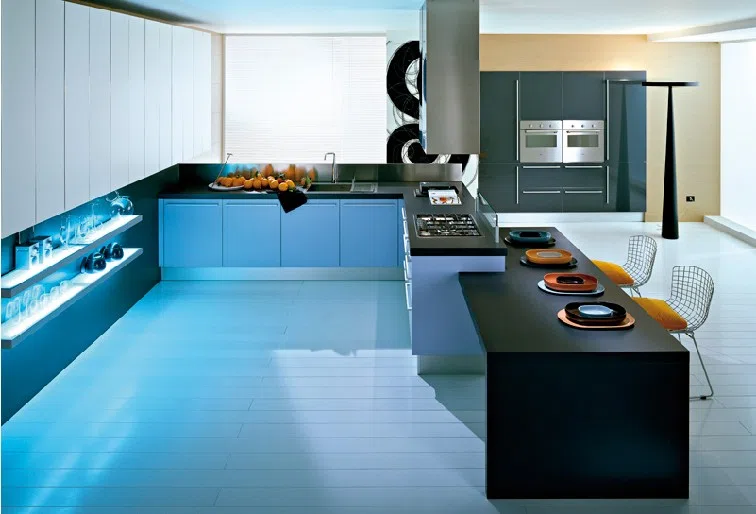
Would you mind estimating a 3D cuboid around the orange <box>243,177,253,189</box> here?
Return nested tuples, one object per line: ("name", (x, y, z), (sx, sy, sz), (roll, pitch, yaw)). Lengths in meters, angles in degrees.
("orange", (-1.782, -1.018, 7.302), (0.141, 0.119, 0.155), (-6, 16, -14))

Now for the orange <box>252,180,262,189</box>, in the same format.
("orange", (-1.654, -0.996, 7.249), (0.123, 0.116, 0.051), (-6, 15, -11))

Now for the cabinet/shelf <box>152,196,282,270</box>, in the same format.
("cabinet/shelf", (-2.430, -0.268, 7.425), (1.843, 0.939, 1.015), (-1, -2, -44))

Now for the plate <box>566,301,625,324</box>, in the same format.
("plate", (1.366, 0.343, 3.335), (0.226, 0.041, 0.163), (-1, 16, -1))

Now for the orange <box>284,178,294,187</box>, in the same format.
("orange", (-1.211, -1.011, 7.250), (0.142, 0.080, 0.092), (19, -7, 38))

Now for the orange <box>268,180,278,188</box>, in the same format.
("orange", (-1.429, -0.997, 7.216), (0.149, 0.101, 0.079), (3, 16, 19))

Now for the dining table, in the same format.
("dining table", (1.243, 0.792, 3.471), (1.258, 1.003, 1.144), (-1, 15, 5))

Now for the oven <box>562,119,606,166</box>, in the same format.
("oven", (3.945, -2.211, 10.216), (0.816, 0.746, 0.556), (3, 6, 25))

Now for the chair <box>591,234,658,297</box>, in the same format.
("chair", (2.418, 0.213, 5.355), (0.611, 0.767, 0.494), (-3, 17, -2))

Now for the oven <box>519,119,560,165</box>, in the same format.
("oven", (3.236, -2.249, 10.211), (0.640, 0.835, 0.890), (-15, 18, -41))

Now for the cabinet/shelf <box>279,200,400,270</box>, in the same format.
("cabinet/shelf", (-0.501, -0.320, 7.049), (1.805, 0.844, 0.867), (0, 5, 1))

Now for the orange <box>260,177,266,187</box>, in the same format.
("orange", (-1.551, -1.033, 7.279), (0.086, 0.096, 0.086), (3, 9, 32))
